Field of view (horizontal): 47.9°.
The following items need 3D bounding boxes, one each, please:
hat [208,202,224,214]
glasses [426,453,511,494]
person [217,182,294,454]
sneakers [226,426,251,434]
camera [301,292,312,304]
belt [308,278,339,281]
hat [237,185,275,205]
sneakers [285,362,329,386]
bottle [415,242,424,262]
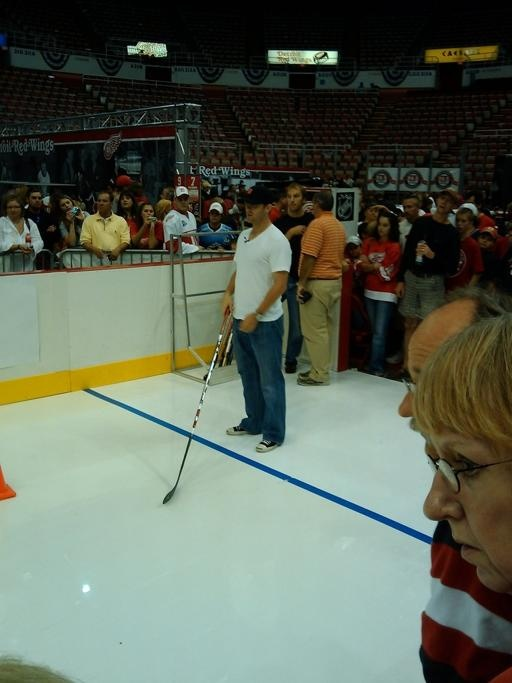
[{"bbox_3d":[-0.513,-1.752,7.528,0.139,0.113,0.209,5,-2,8],"label":"hat"},{"bbox_3d":[0.183,0.116,0.526,0.044,0.013,0.040,-3,-1,-17],"label":"glasses"},{"bbox_3d":[0.036,-0.147,4.158,0.418,1.865,0.519,-2,10,-8],"label":"person"},{"bbox_3d":[-0.138,0.693,4.507,0.161,0.057,0.071,6,0,-2],"label":"sneakers"},{"bbox_3d":[0.498,-0.428,5.662,0.114,0.100,0.029,11,13,-21],"label":"camera"},{"bbox_3d":[0.677,-0.611,5.659,0.263,0.035,0.052,-2,8,-13],"label":"belt"},{"bbox_3d":[0.017,-1.027,4.066,0.200,0.153,0.298,0,8,3],"label":"hat"},{"bbox_3d":[0.511,0.334,5.948,0.165,0.191,0.480,-9,15,-38],"label":"sneakers"},{"bbox_3d":[1.568,-0.852,5.531,0.062,0.196,0.130,2,9,13],"label":"bottle"}]
